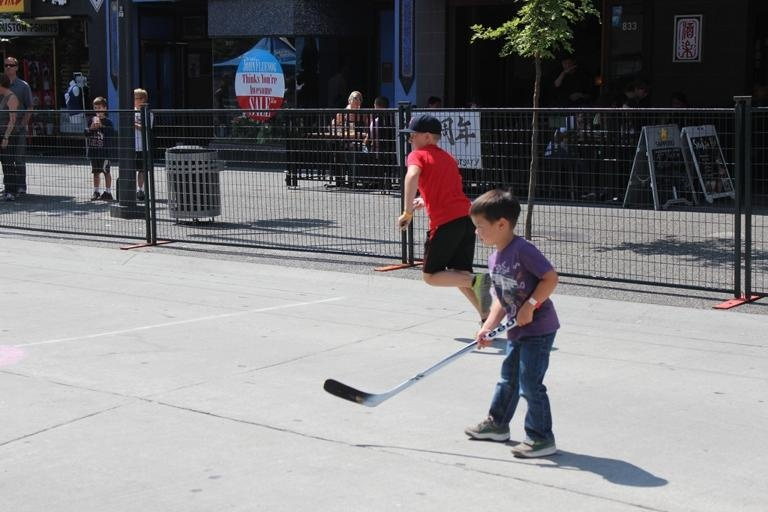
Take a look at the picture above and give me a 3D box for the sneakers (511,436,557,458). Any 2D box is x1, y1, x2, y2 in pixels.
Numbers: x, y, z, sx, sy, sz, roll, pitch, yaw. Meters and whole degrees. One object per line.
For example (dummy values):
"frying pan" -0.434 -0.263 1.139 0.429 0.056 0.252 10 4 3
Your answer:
"sneakers" 1.093 1.418 6.848 0.357 0.116 0.119 0 2 -8

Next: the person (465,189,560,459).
"person" 0.964 0.492 6.867 0.664 1.958 0.447 3 6 19

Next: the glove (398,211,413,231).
"glove" 0.209 -0.361 9.145 0.086 0.178 0.142 39 38 17

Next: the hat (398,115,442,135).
"hat" 0.328 -1.302 9.097 0.402 0.166 0.260 10 20 17

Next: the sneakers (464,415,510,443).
"sneakers" 0.787 1.315 7.107 0.399 0.162 0.142 3 3 5

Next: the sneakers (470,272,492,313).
"sneakers" 0.883 0.341 8.489 0.189 0.390 0.143 9 33 30

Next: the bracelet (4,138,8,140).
"bracelet" -6.310 -1.981 15.554 0.046 0.041 0.011 29 -33 -32
